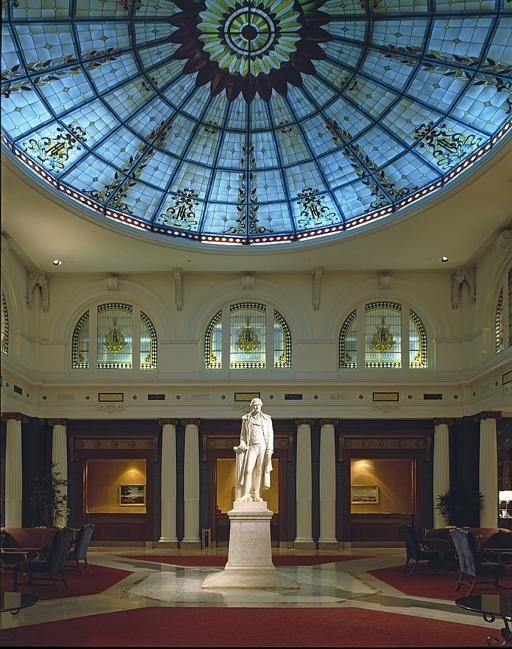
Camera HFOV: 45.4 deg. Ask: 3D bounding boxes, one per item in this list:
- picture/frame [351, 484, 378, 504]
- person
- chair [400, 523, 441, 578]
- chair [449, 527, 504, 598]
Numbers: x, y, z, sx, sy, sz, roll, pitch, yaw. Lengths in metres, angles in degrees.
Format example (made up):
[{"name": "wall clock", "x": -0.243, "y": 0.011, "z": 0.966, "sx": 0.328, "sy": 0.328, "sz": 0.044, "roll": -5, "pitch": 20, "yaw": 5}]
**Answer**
[{"name": "picture/frame", "x": 3.993, "y": 6.222, "z": 22.443, "sx": 1.309, "sy": 0.849, "sz": 0.090, "roll": 1, "pitch": -17, "yaw": 3}, {"name": "person", "x": -0.036, "y": 2.348, "z": 11.613, "sx": 0.688, "sy": 1.888, "sz": 0.739, "roll": 1, "pitch": -10, "yaw": -2}, {"name": "chair", "x": 3.579, "y": 4.967, "z": 13.654, "sx": 0.697, "sy": 1.181, "sz": 1.978, "roll": -2, "pitch": -10, "yaw": 13}, {"name": "chair", "x": 3.875, "y": 4.220, "z": 10.785, "sx": 0.801, "sy": 1.142, "sz": 2.709, "roll": -3, "pitch": -10, "yaw": 18}]
